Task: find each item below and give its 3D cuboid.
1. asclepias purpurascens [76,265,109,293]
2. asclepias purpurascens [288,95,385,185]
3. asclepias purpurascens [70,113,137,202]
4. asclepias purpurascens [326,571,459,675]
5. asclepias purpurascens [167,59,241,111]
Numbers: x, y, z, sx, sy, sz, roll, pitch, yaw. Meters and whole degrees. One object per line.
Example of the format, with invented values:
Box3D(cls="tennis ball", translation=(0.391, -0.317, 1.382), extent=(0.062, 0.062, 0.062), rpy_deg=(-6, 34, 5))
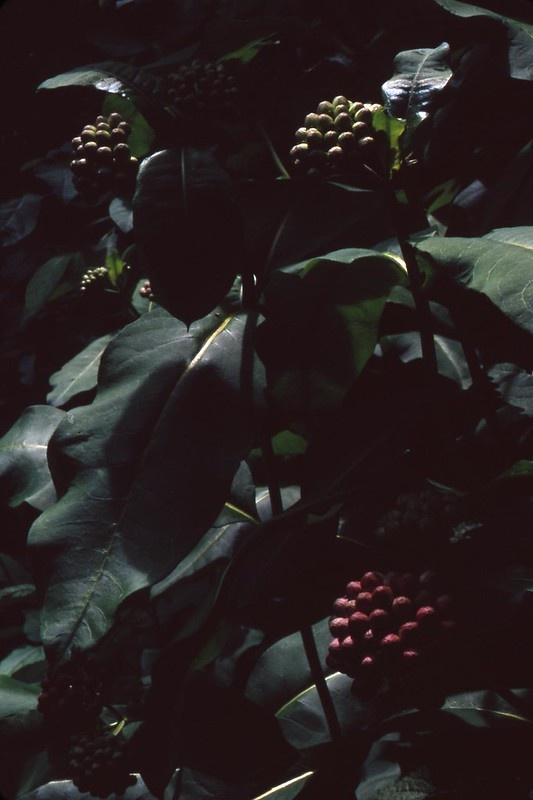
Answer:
Box3D(cls="asclepias purpurascens", translation=(-0.414, -0.291, 1.923), extent=(0.074, 0.053, 0.077), rpy_deg=(-15, 38, -11))
Box3D(cls="asclepias purpurascens", translation=(0.126, -0.459, 1.424), extent=(0.166, 0.131, 0.102), rpy_deg=(-4, 39, 5))
Box3D(cls="asclepias purpurascens", translation=(-0.355, -0.522, 1.748), extent=(0.145, 0.173, 0.116), rpy_deg=(-14, 39, -8))
Box3D(cls="asclepias purpurascens", translation=(0.230, 0.409, 1.443), extent=(0.201, 0.108, 0.203), rpy_deg=(-18, 18, 25))
Box3D(cls="asclepias purpurascens", translation=(-0.116, -0.591, 1.513), extent=(0.138, 0.075, 0.034), rpy_deg=(-6, 4, 31))
